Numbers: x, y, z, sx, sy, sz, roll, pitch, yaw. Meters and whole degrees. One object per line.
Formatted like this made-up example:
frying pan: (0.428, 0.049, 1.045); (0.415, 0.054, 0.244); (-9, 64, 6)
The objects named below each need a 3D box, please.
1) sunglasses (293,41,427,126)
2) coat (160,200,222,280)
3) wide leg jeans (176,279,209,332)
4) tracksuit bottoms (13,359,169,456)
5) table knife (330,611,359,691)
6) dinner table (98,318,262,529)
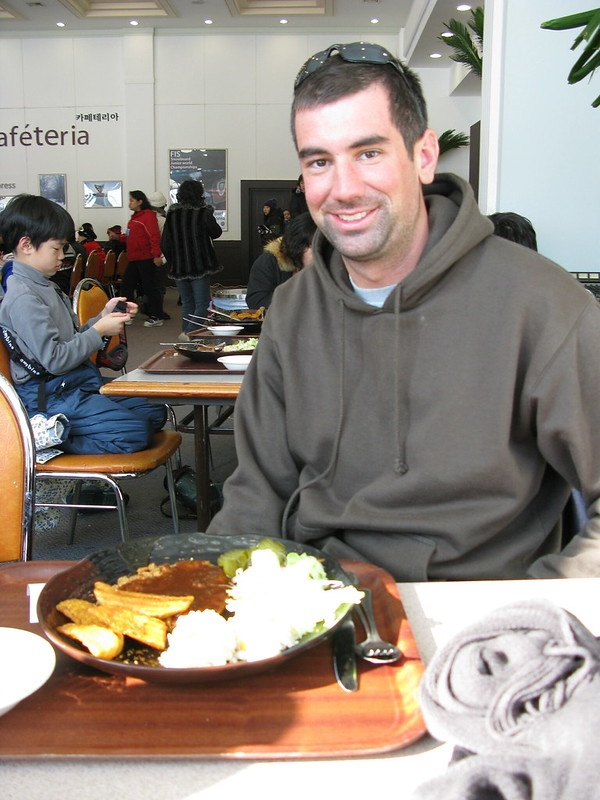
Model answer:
sunglasses: (0.103, -0.527, 1.075); (0.223, 0.122, 0.121); (-1, 12, 4)
coat: (-1.278, -1.919, 7.918); (0.810, 0.843, 0.579); (-7, 14, -8)
wide leg jeans: (-1.339, -1.211, 8.024); (0.317, 0.893, 0.294); (1, 5, 11)
tracksuit bottoms: (-0.735, 0.015, 2.366); (0.468, 0.248, 0.315); (2, 13, 2)
table knife: (0.049, 0.227, 0.627); (0.015, 0.007, 0.146); (1, 16, 6)
dinner table: (-0.335, 0.113, 2.342); (0.620, 0.566, 0.647); (1, 16, 13)
